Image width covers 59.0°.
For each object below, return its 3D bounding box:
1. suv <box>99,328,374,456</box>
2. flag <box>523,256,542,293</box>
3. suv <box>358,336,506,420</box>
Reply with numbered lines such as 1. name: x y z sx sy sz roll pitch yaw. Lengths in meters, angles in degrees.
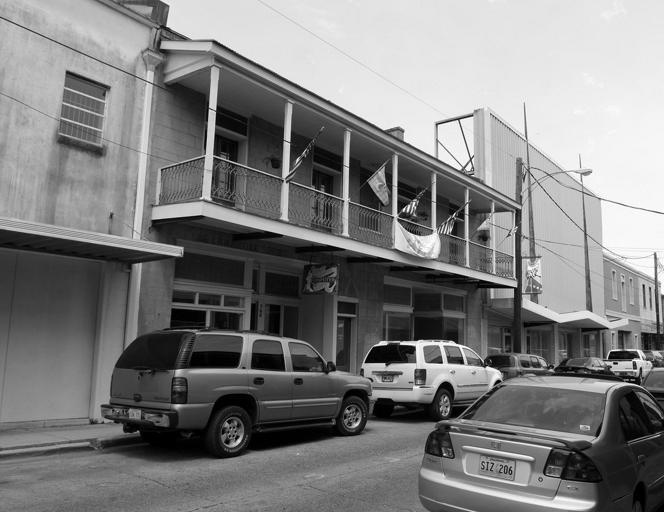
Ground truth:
1. suv: -1.477 2.544 11.529 5.454 2.308 1.815 4 -5 -38
2. flag: 8.878 0.837 25.978 0.746 1.564 1.776 0 -4 18
3. suv: 2.789 3.102 15.875 1.934 1.589 3.599 -5 -5 40
